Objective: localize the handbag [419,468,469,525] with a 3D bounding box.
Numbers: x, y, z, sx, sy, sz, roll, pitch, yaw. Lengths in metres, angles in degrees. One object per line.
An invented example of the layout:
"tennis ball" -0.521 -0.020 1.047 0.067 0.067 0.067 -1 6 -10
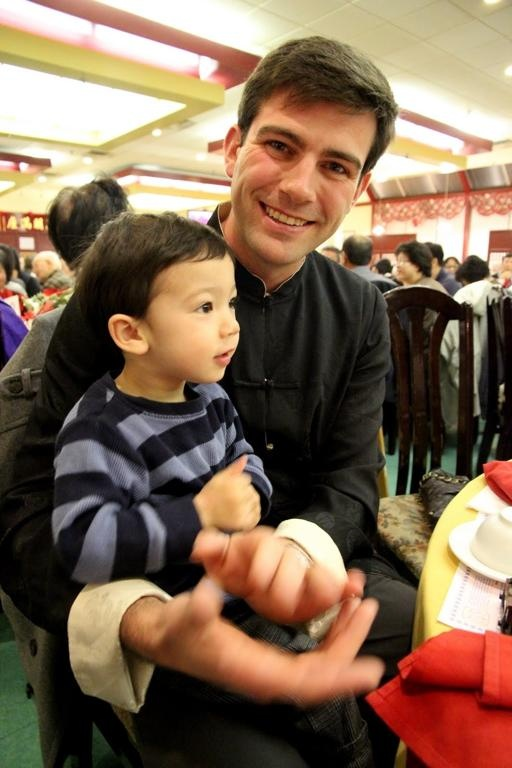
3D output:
"handbag" 0.615 0.350 1.750 0.146 0.081 0.238 15 23 12
